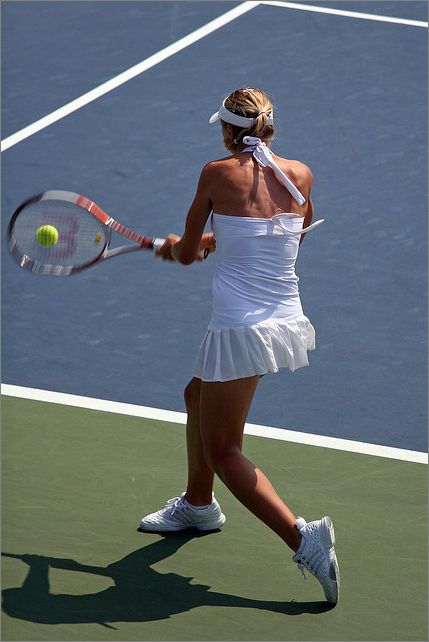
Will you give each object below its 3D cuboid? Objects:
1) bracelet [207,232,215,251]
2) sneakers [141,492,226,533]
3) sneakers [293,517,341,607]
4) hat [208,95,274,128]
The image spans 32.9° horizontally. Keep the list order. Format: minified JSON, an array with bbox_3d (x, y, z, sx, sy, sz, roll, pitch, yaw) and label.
[{"bbox_3d":[-0.009,-0.322,2.989,0.025,0.057,0.044,5,8,-12],"label":"bracelet"},{"bbox_3d":[-0.124,0.780,2.970,0.387,0.155,0.133,1,-22,-3],"label":"sneakers"},{"bbox_3d":[0.359,0.792,2.469,0.173,0.325,0.117,-8,21,12],"label":"sneakers"},{"bbox_3d":[0.071,-0.753,2.602,0.144,0.082,0.193,-22,42,-40],"label":"hat"}]
